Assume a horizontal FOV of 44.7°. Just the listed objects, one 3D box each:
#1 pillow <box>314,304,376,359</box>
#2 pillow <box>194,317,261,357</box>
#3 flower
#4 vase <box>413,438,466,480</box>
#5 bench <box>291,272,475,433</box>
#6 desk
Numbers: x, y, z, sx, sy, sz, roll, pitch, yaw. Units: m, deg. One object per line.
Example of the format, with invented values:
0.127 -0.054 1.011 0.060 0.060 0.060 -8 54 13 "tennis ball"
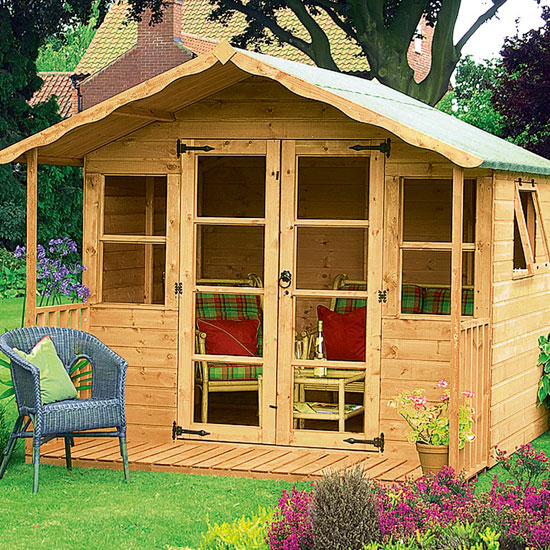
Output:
0.665 0.548 6.264 0.549 0.502 0.211 -10 -22 28 "pillow"
-0.439 0.618 6.603 0.669 0.346 0.190 1 -12 -25 "pillow"
1.181 1.002 4.925 0.625 0.503 0.756 -2 0 -10 "flower"
1.151 1.315 4.728 0.308 0.251 0.178 -2 0 27 "vase"
1.039 0.699 6.706 1.345 1.479 2.300 0 -3 22 "bench"
0.475 1.274 5.864 0.582 0.291 0.484 -14 18 9 "desk"
